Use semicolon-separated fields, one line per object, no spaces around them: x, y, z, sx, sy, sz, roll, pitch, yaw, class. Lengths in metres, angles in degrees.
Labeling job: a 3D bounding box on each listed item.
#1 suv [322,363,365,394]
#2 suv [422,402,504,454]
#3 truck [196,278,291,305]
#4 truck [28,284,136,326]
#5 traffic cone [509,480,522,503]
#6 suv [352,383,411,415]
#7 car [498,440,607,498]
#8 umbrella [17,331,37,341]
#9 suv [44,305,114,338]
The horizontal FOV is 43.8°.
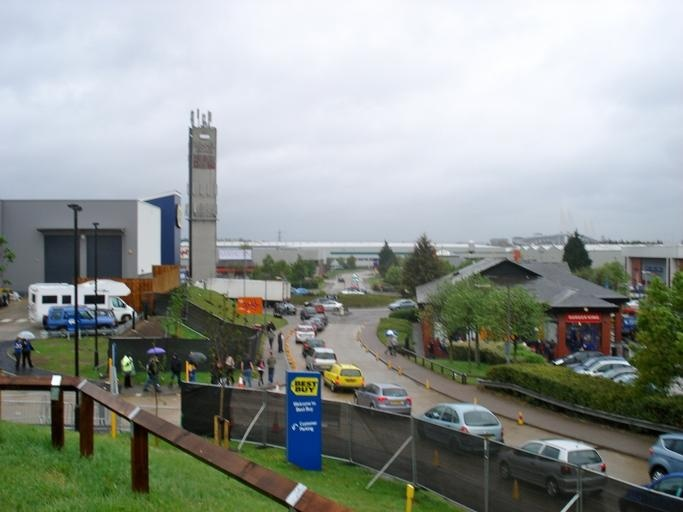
-0.037;6.646;46.585;1.160;1.026;2.048;0;6;-14;suv
4.669;6.799;34.954;2.307;1.918;4.563;3;1;-19;suv
-11.671;4.444;92.706;11.935;3.438;3.585;3;-1;-6;truck
-16.248;3.461;53.286;6.624;3.477;3.264;-1;2;-28;truck
5.485;7.458;27.025;0.469;0.671;0.473;-1;-1;-42;traffic cone
1.812;6.598;39.570;1.583;1.255;2.700;2;-2;-44;suv
7.023;6.846;28.327;3.249;1.308;4.946;0;-2;17;car
-15.356;3.892;41.912;0.704;0.270;0.725;2;-1;36;umbrella
-15.675;4.106;51.111;4.190;2.163;2.309;-4;6;-19;suv
